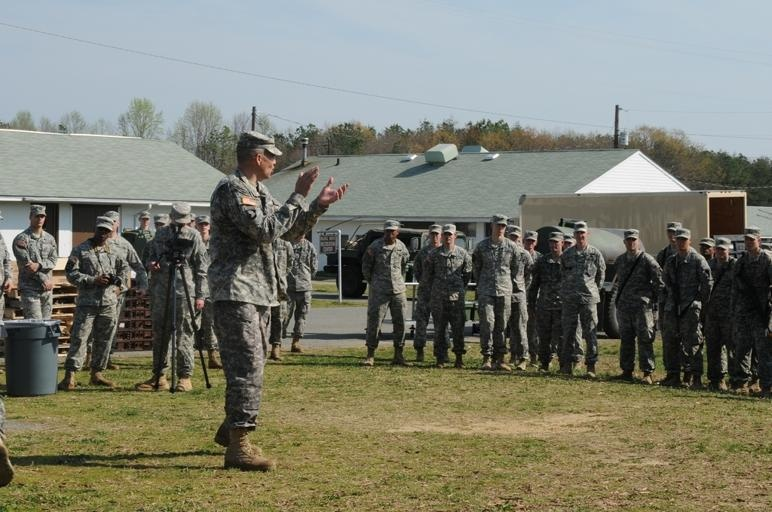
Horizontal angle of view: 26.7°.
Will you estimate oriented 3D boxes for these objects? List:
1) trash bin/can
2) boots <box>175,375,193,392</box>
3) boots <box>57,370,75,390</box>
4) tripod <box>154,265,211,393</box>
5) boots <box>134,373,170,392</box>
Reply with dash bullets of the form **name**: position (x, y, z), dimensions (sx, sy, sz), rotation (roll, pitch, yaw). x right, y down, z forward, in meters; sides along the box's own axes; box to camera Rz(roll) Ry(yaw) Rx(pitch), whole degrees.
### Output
- **trash bin/can**: position (-6.205, 1.789, 29.067), dimensions (1.015, 1.247, 1.125), rotation (1, 0, 2)
- **boots**: position (-3.649, 2.325, 29.282), dimensions (0.173, 0.207, 0.334), rotation (1, -21, 3)
- **boots**: position (-5.689, 2.250, 29.373), dimensions (0.362, 0.320, 0.347), rotation (-2, -6, 35)
- **tripod**: position (-3.759, 1.281, 28.998), dimensions (1.031, 2.218, 1.078), rotation (-1, -4, -39)
- **boots**: position (-4.198, 2.293, 29.312), dimensions (0.647, 0.348, 0.255), rotation (5, -8, -3)
